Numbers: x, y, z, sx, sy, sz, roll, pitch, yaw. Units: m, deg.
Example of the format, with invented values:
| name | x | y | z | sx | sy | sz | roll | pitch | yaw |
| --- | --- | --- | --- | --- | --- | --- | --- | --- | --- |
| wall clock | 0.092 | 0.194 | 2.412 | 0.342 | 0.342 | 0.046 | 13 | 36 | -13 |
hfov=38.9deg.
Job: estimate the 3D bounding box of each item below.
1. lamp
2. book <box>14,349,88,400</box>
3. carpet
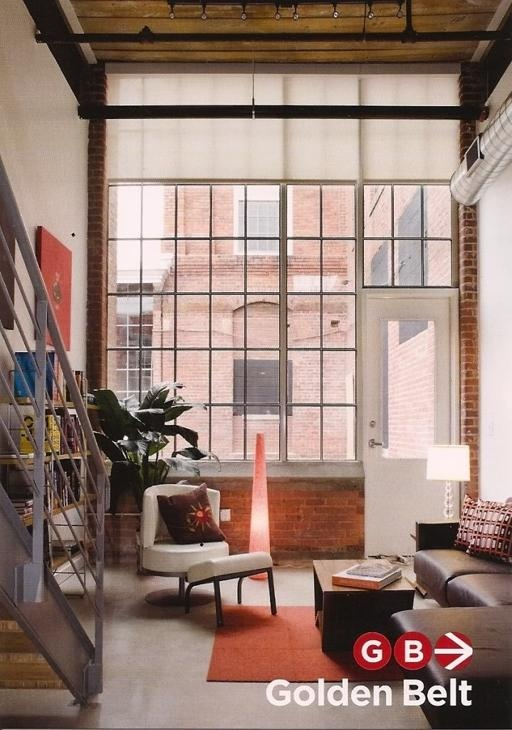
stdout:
| name | x | y | z | sx | sy | sz | roll | pitch | yaw |
| --- | --- | --- | --- | --- | --- | --- | --- | --- | --- |
| lamp | 1.371 | 0.835 | 5.153 | 0.271 | 0.559 | 0.954 | -1 | -2 | 16 |
| book | -1.033 | 0.048 | 3.586 | 0.341 | 0.337 | 0.250 | -1 | -7 | 1 |
| carpet | 0.192 | 1.441 | 3.790 | 0.898 | 0.033 | 1.117 | 0 | -2 | -5 |
